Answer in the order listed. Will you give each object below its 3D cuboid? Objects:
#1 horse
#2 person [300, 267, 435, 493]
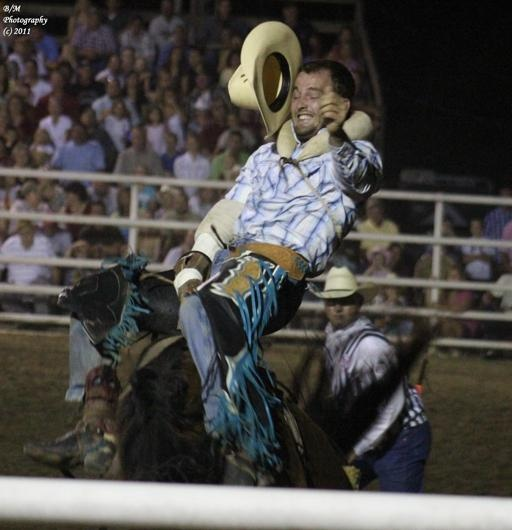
[{"bbox_3d":[0.143,0.623,6.338,1.423,0.602,0.642,4,3,-36],"label":"horse"},{"bbox_3d":[0.502,0.430,6.673,0.341,1.284,0.646,-20,-22,23],"label":"person"}]
